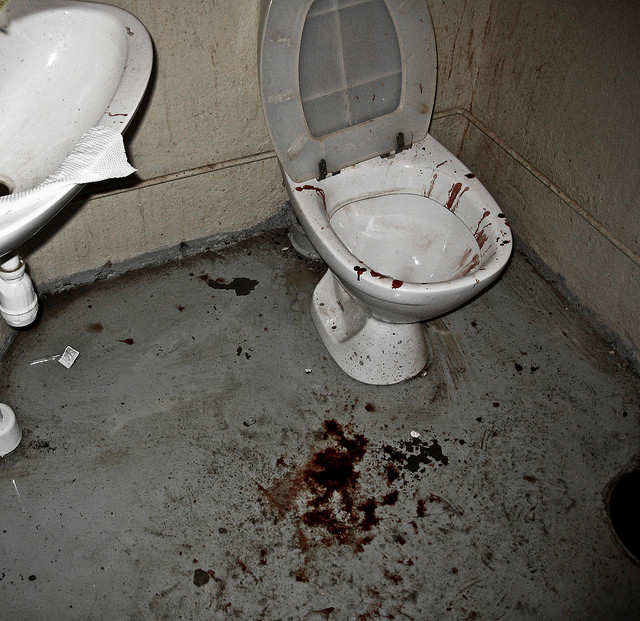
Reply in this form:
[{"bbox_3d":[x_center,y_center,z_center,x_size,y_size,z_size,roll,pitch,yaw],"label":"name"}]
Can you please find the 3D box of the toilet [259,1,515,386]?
[{"bbox_3d":[0.178,-0.304,1.423,0.475,0.597,0.540,-22,50,-23],"label":"toilet"}]
